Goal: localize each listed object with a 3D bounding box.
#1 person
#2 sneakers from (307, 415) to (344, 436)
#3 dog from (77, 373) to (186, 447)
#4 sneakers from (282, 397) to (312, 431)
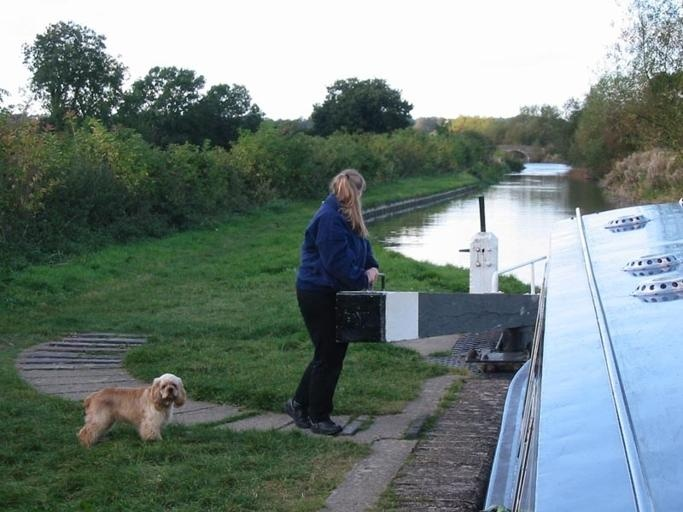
[{"bbox_3d":[-0.089,0.521,11.218,0.970,2.909,0.747,-8,15,-28],"label":"person"},{"bbox_3d":[-0.189,1.945,11.229,0.346,0.195,0.174,-2,6,20],"label":"sneakers"},{"bbox_3d":[-2.409,1.755,11.172,1.162,0.835,0.532,-1,-7,0],"label":"dog"},{"bbox_3d":[-0.548,1.876,11.457,0.164,0.461,0.212,-34,-10,-21],"label":"sneakers"}]
